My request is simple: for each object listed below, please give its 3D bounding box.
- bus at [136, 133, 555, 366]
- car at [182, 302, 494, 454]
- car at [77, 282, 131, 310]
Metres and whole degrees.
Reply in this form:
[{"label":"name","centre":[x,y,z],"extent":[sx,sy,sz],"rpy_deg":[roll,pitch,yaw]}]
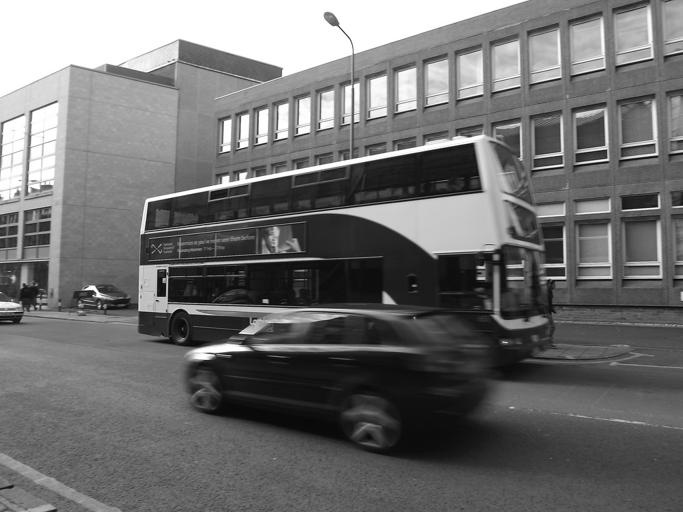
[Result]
[{"label":"bus","centre":[-0.427,-0.021,15.704],"extent":[14.898,5.725,4.840],"rpy_deg":[-3,-3,35]},{"label":"car","centre":[-0.147,1.382,7.005],"extent":[3.782,1.250,1.705],"rpy_deg":[0,-3,30]},{"label":"car","centre":[-16.063,2.769,34.660],"extent":[3.058,1.680,1.870],"rpy_deg":[-2,-5,1]}]
